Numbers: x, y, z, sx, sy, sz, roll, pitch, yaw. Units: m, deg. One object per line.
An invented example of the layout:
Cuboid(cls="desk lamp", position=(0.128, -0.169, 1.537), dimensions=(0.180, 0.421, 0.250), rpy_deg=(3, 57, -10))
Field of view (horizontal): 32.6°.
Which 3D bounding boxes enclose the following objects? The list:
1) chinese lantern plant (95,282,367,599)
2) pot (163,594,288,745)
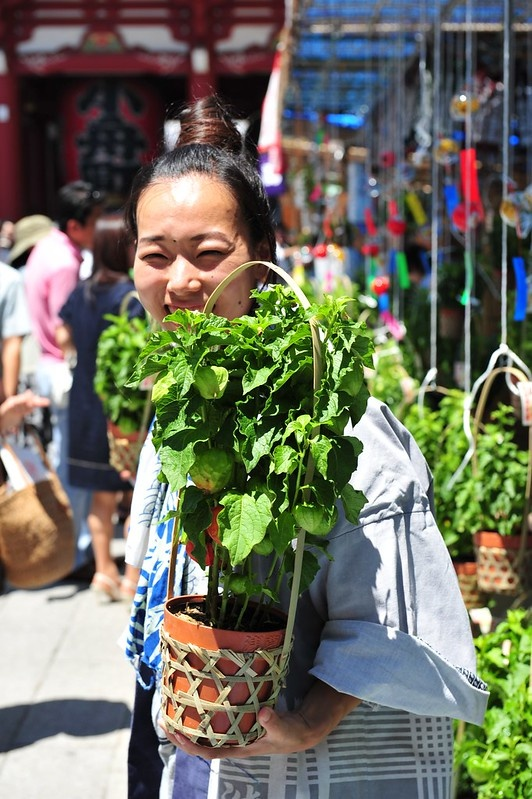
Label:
Cuboid(cls="chinese lantern plant", position=(-0.039, 0.039, 1.186), dimensions=(0.402, 0.394, 0.358), rpy_deg=(0, -3, -19))
Cuboid(cls="pot", position=(-0.065, 0.358, 1.156), dimensions=(0.166, 0.133, 0.161), rpy_deg=(8, -11, 1))
